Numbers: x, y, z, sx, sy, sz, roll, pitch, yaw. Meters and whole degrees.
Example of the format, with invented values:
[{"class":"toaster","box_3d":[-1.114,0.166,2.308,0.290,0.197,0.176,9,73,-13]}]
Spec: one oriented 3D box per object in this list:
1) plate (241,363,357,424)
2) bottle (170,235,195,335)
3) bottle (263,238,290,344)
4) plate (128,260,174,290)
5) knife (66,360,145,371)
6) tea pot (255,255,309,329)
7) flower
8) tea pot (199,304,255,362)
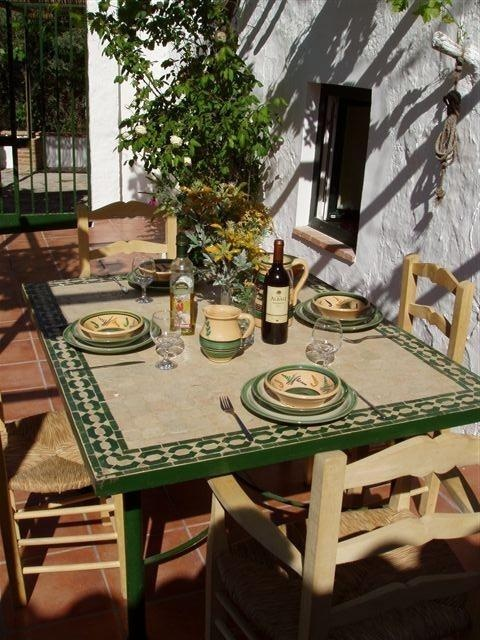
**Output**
[{"class":"plate","box_3d":[0.148,0.187,1.277,0.291,0.080,0.270,5,12,13]},{"class":"bottle","box_3d":[-0.214,-0.118,1.737,0.085,0.298,0.108,-5,24,-16]},{"class":"bottle","box_3d":[0.117,-0.089,1.614,0.092,0.316,0.114,-2,12,-20]},{"class":"plate","box_3d":[-0.405,-0.230,2.241,0.170,0.056,0.170,-12,21,-39]},{"class":"knife","box_3d":[-0.403,0.134,1.472,0.022,0.010,0.199,3,2,20]},{"class":"tea pot","box_3d":[0.167,-0.165,1.999,0.143,0.416,0.166,-2,17,-16]},{"class":"flower","box_3d":[-0.065,-0.242,1.822,0.320,0.314,0.295,-5,16,-21]},{"class":"tea pot","box_3d":[-0.054,0.038,1.594,0.195,0.179,0.151,1,18,-3]}]
